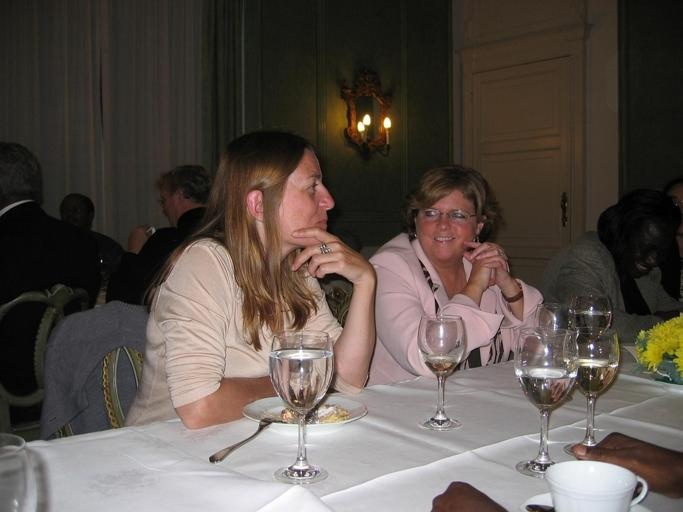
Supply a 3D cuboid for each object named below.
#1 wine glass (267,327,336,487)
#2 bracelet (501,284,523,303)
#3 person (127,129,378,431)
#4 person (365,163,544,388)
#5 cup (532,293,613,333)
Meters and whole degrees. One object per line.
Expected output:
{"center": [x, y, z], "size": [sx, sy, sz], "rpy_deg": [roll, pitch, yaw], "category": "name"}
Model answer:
{"center": [-0.087, 0.306, 1.208], "size": [0.135, 0.263, 0.292], "rpy_deg": [0, 6, -4], "category": "wine glass"}
{"center": [0.696, 0.152, 2.269], "size": [0.074, 0.073, 0.043], "rpy_deg": [1, 7, 4], "category": "bracelet"}
{"center": [-0.291, 0.091, 2.026], "size": [0.811, 1.185, 0.919], "rpy_deg": [-1, -5, 18], "category": "person"}
{"center": [0.509, 0.166, 2.413], "size": [0.719, 1.067, 0.792], "rpy_deg": [-7, 16, -12], "category": "person"}
{"center": [0.762, 0.188, 1.843], "size": [0.196, 0.116, 0.110], "rpy_deg": [-8, 1, 25], "category": "cup"}
